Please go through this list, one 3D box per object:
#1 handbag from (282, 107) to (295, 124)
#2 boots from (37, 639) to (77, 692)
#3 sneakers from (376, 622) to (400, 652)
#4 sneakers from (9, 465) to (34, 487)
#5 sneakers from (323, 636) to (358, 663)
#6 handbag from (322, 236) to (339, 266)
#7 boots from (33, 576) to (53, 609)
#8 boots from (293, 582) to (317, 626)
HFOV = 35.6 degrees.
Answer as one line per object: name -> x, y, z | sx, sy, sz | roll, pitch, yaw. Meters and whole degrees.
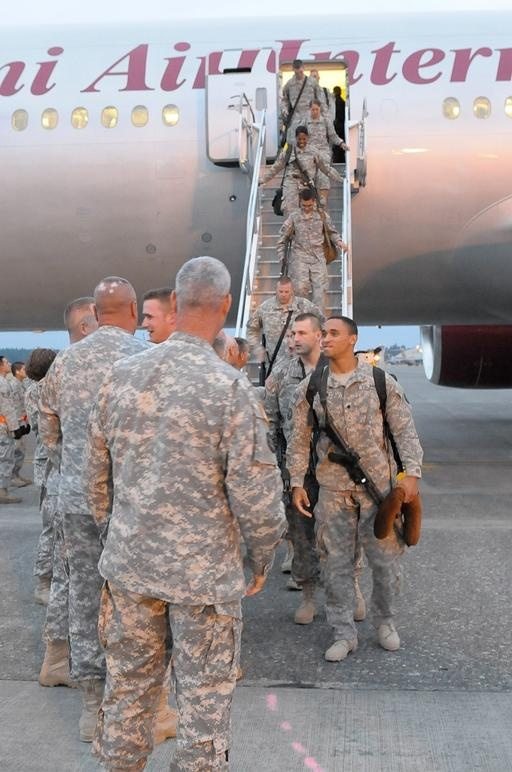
handbag -> 0.324, -2.788, 8.195 | 0.069, 0.133, 0.104 | 16, -11, -41
boots -> -0.871, 1.209, 3.441 | 0.142, 0.213, 0.151 | -6, 18, -17
sneakers -> 0.645, 1.234, 3.897 | 0.073, 0.054, 0.154 | -5, 5, -7
sneakers -> -2.664, 1.035, 8.821 | 0.316, 0.194, 0.106 | 0, 4, 18
sneakers -> 0.399, 1.271, 3.791 | 0.067, 0.081, 0.182 | -13, -13, 28
handbag -> 0.712, -1.246, 7.473 | 0.172, 0.315, 0.325 | -1, 4, 7
boots -> -1.219, 1.170, 4.535 | 0.129, 0.172, 0.074 | 12, 21, 33
boots -> 0.265, 1.181, 4.372 | 0.118, 0.225, 0.303 | 1, 17, 4
